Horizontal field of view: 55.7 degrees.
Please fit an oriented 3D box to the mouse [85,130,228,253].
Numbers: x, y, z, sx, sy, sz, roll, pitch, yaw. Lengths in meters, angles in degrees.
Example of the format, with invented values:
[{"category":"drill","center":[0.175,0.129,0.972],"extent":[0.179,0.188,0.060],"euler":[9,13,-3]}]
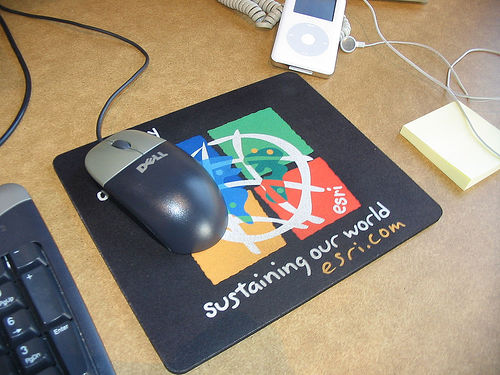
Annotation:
[{"category":"mouse","center":[-0.125,-0.008,0.650],"extent":[0.226,0.070,0.132],"euler":[42,55,15]}]
